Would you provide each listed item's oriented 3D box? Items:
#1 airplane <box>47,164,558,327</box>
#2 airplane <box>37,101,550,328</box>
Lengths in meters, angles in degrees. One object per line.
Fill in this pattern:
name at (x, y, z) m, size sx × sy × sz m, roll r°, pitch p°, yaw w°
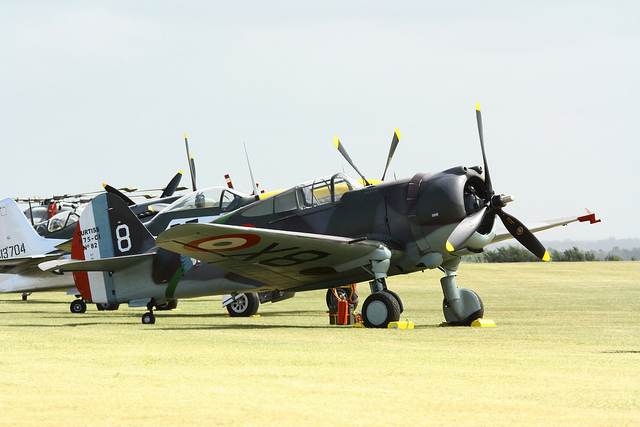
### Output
airplane at (-1.083, 0.651, 13.152) m, size 5.899 × 1.678 × 6.223 m, roll -5°, pitch -3°, yaw 24°
airplane at (-1.708, 0.750, 13.600) m, size 9.944 × 2.965 × 4.925 m, roll -4°, pitch -4°, yaw 28°
